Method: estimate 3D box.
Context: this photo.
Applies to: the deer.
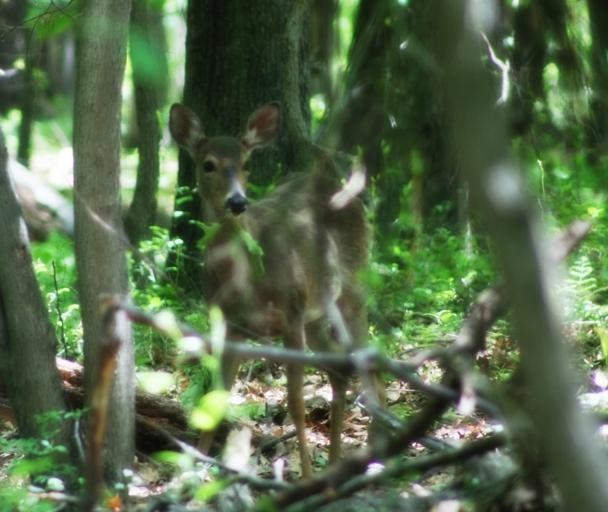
[{"bbox_3d":[-0.177,-0.021,5.834,1.045,2.658,2.099,1,6,-4],"label":"deer"}]
